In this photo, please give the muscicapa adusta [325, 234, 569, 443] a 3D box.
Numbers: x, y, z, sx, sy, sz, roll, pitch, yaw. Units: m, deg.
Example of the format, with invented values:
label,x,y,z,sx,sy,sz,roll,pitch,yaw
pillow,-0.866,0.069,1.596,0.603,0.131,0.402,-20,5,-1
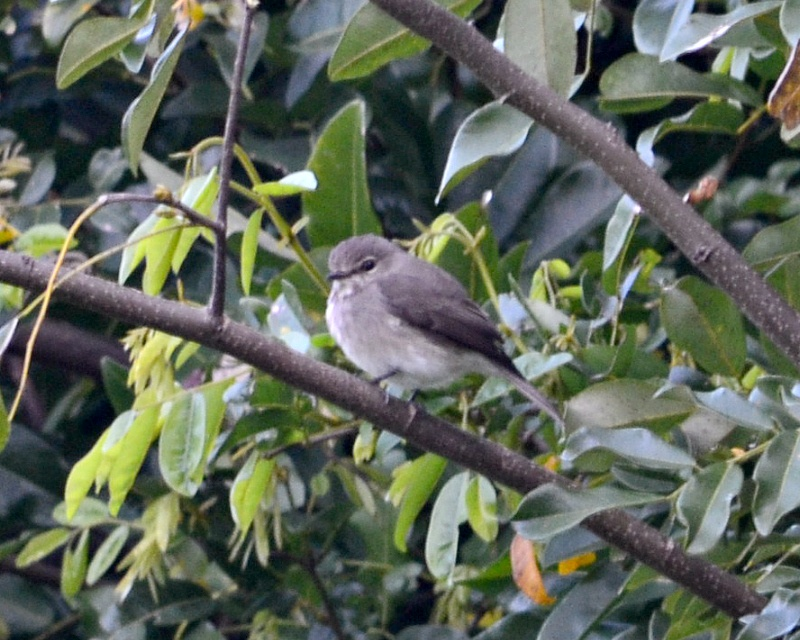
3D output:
label,x,y,z,sx,sy,sz,roll,pitch,yaw
muscicapa adusta,0.039,0.019,3.184,0.382,0.390,0.723,-34,33,-11
